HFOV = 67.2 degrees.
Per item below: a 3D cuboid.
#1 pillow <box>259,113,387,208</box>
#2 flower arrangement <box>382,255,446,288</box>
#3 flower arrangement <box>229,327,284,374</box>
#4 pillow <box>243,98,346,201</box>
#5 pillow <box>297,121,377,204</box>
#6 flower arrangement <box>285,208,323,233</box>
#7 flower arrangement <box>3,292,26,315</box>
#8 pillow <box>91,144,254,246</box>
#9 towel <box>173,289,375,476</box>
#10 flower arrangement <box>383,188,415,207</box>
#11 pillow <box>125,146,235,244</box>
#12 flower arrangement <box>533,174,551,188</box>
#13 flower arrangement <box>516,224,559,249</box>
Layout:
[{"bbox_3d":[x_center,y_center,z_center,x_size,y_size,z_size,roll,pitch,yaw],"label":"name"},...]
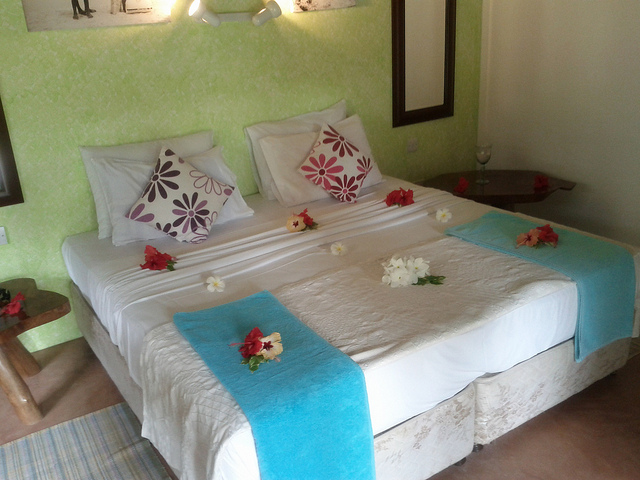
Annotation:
[{"bbox_3d":[-0.164,-0.547,3.358,0.909,0.635,0.247,-16,-16,-12],"label":"pillow"},{"bbox_3d":[0.482,0.166,2.368,0.264,0.126,0.141,10,31,22],"label":"flower arrangement"},{"bbox_3d":[-0.231,0.427,1.898,0.149,0.055,0.146,-3,35,-15],"label":"flower arrangement"},{"bbox_3d":[-0.227,-0.653,3.623,0.787,0.694,0.501,-10,28,-26],"label":"pillow"},{"bbox_3d":[0.125,-0.502,3.397,0.497,0.530,0.157,-56,6,-14],"label":"pillow"},{"bbox_3d":[-0.117,-0.096,2.952,0.147,0.078,0.160,3,27,-1],"label":"flower arrangement"},{"bbox_3d":[-1.661,0.342,2.618,0.094,0.049,0.196,-11,24,-12],"label":"flower arrangement"},{"bbox_3d":[-1.105,-0.221,2.978,0.860,0.597,0.231,-17,-10,-27],"label":"pillow"},{"bbox_3d":[-0.173,0.559,2.086,0.468,0.545,0.875,-20,32,-30],"label":"towel"},{"bbox_3d":[0.536,-0.277,3.178,0.125,0.063,0.125,14,30,31],"label":"flower arrangement"},{"bbox_3d":[-0.838,-0.223,2.878,0.534,0.567,0.167,-61,8,-17],"label":"pillow"},{"bbox_3d":[1.636,-0.445,3.549,0.116,0.047,0.116,-27,35,-36],"label":"flower arrangement"},{"bbox_3d":[1.170,-0.009,2.573,0.153,0.076,0.150,-28,42,-18],"label":"flower arrangement"}]
